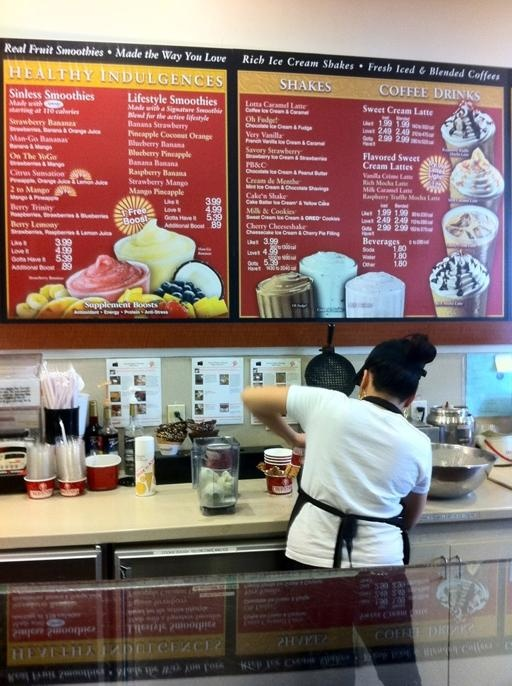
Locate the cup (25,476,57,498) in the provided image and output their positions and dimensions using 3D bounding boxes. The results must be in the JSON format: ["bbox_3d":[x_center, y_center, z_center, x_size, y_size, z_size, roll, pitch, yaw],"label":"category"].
[{"bbox_3d":[-0.710,0.479,2.050,0.079,0.054,0.077,0,-2,0],"label":"cup"}]

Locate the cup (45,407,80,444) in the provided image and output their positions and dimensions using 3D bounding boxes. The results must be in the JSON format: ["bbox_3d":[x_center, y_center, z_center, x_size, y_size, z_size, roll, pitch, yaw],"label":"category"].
[{"bbox_3d":[-0.677,0.274,2.163,0.129,0.127,0.117,-1,7,-20],"label":"cup"}]

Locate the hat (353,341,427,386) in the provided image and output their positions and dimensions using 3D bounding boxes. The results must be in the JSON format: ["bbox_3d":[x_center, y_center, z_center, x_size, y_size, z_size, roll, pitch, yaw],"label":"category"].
[{"bbox_3d":[0.364,0.056,1.695,0.153,0.099,0.164,1,7,-6],"label":"hat"}]

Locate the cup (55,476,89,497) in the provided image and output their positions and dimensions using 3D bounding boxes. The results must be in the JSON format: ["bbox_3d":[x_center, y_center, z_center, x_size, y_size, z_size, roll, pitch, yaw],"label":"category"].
[{"bbox_3d":[-0.631,0.483,2.130,0.098,0.062,0.126,-5,7,-17],"label":"cup"}]

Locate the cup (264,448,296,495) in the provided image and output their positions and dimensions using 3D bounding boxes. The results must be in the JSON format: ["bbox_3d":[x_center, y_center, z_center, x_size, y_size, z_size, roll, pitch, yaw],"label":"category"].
[{"bbox_3d":[0.078,0.449,2.142,0.129,0.136,0.131,0,-6,0],"label":"cup"}]

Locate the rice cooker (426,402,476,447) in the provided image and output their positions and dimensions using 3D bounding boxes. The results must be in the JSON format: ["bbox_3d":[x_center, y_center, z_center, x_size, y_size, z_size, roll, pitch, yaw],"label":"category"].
[{"bbox_3d":[0.782,0.322,2.458,0.166,0.172,0.171,0,-2,-3],"label":"rice cooker"}]

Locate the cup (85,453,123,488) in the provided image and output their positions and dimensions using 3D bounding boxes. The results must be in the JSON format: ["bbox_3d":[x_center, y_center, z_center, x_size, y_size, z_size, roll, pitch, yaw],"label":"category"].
[{"bbox_3d":[-0.538,0.447,2.192,0.115,0.085,0.115,1,-1,0],"label":"cup"}]
